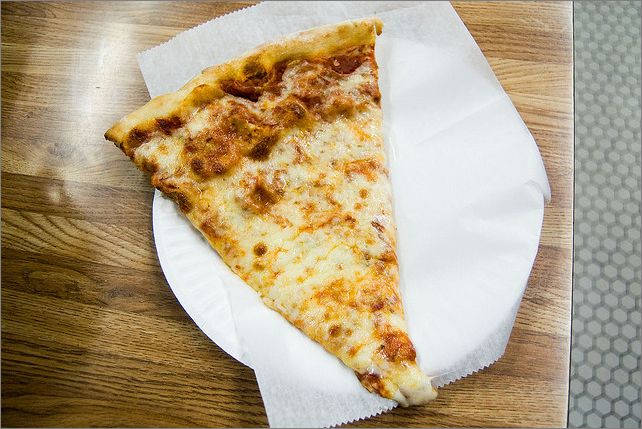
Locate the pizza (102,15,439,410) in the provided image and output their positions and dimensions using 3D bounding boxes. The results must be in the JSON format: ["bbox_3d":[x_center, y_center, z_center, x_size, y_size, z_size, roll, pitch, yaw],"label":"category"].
[{"bbox_3d":[0.010,-0.064,1.888,0.910,0.133,1.138,-35,86,-3],"label":"pizza"}]
